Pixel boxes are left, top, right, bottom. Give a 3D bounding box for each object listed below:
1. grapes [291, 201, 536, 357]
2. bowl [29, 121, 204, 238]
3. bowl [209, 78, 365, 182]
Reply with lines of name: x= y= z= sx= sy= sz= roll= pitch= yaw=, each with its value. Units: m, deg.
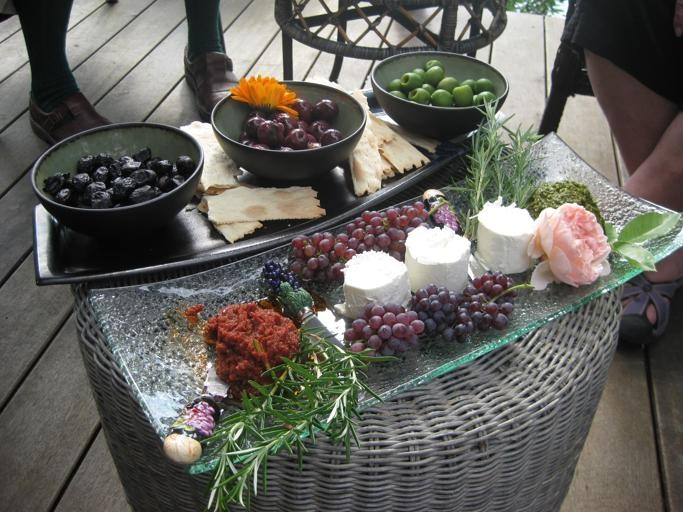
grapes: x=0.106 y=0.026 z=0.926 sx=0.341 sy=0.244 sz=0.353 roll=-11 pitch=28 yaw=-23
bowl: x=-0.415 y=-0.141 z=0.971 sx=0.233 sy=0.159 sz=0.218 roll=0 pitch=37 yaw=0
bowl: x=-0.105 y=-0.237 z=1.105 sx=0.246 sy=0.105 sz=0.272 roll=0 pitch=41 yaw=-4
